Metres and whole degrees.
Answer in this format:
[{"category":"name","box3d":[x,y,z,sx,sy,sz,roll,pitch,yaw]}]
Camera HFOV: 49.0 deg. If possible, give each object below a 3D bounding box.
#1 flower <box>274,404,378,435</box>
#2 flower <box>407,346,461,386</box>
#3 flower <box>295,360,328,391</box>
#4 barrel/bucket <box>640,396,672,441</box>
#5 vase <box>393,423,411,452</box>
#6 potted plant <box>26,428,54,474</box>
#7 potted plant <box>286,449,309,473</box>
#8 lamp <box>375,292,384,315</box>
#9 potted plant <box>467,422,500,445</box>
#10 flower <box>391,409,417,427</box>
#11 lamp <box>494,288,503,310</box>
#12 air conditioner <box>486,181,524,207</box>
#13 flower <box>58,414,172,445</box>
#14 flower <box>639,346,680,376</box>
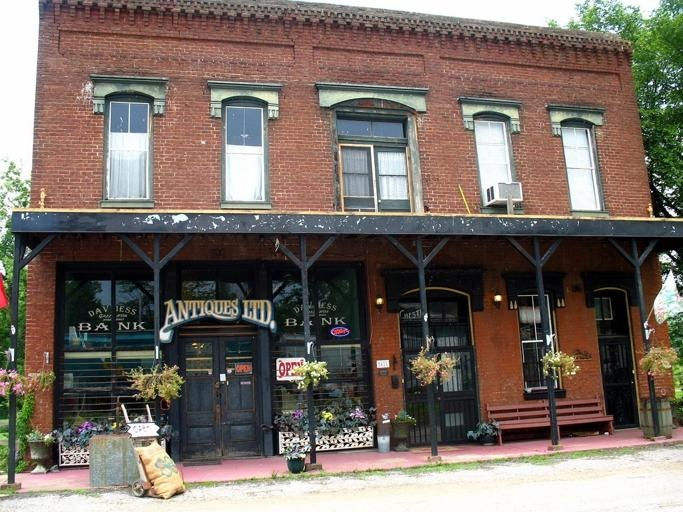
[{"category":"flower","box3d":[-0.456,3.524,16.667,1.613,0.547,0.884,2,-10,-15]},{"category":"flower","box3d":[1.910,2.371,15.813,1.166,0.777,1.104,-3,-8,40]},{"category":"flower","box3d":[-0.522,2.360,15.051,0.758,0.547,0.744,-4,2,-44]},{"category":"barrel/bucket","box3d":[7.084,3.649,16.763,0.683,0.898,0.713,-4,-13,-1]},{"category":"vase","box3d":[1.317,4.015,16.554,0.340,0.635,0.444,-3,-13,-6]},{"category":"potted plant","box3d":[-6.153,4.009,15.404,0.759,0.930,0.727,2,-4,-13]},{"category":"potted plant","box3d":[-0.885,4.023,14.635,0.345,0.482,0.345,-4,-13,1]},{"category":"lamp","box3d":[0.882,1.096,17.049,0.202,0.441,0.161,-2,-13,-8]},{"category":"potted plant","box3d":[3.230,4.051,17.022,0.555,0.381,0.541,-11,-17,37]},{"category":"flower","box3d":[1.405,3.615,16.566,0.446,0.286,0.433,-1,-4,-4]},{"category":"lamp","box3d":[3.744,1.021,17.710,0.251,0.437,0.215,-2,-13,-10]},{"category":"air conditioner","box3d":[3.812,-1.405,17.719,0.635,0.392,0.640,1,-9,-11]},{"category":"flower","box3d":[-4.987,3.651,15.546,1.750,0.405,1.050,3,-11,-11]},{"category":"flower","box3d":[6.985,2.478,16.744,0.950,0.656,0.911,1,4,38]}]
